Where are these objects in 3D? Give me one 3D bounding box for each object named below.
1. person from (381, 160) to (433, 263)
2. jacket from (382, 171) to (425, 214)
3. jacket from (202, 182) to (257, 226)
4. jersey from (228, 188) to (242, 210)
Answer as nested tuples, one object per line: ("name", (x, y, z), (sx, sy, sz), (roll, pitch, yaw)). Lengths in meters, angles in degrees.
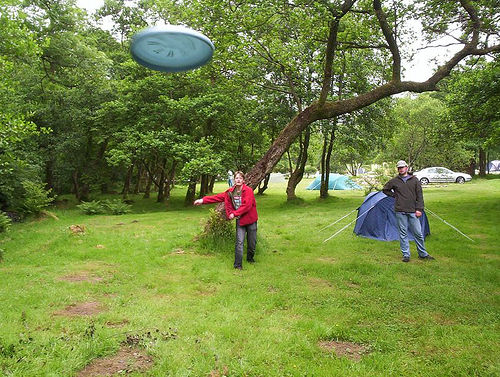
("person", (4.873, 0.668, 11.197), (1.369, 2.969, 0.881), (4, 8, 28))
("jacket", (4.805, 0.155, 11.412), (1.305, 1.235, 0.551), (3, 2, 30))
("jacket", (-0.690, 0.498, 10.628), (1.702, 1.260, 1.025), (0, 4, -9))
("jersey", (-0.429, 0.297, 10.549), (0.424, 0.446, 0.157), (-12, -6, 22))
